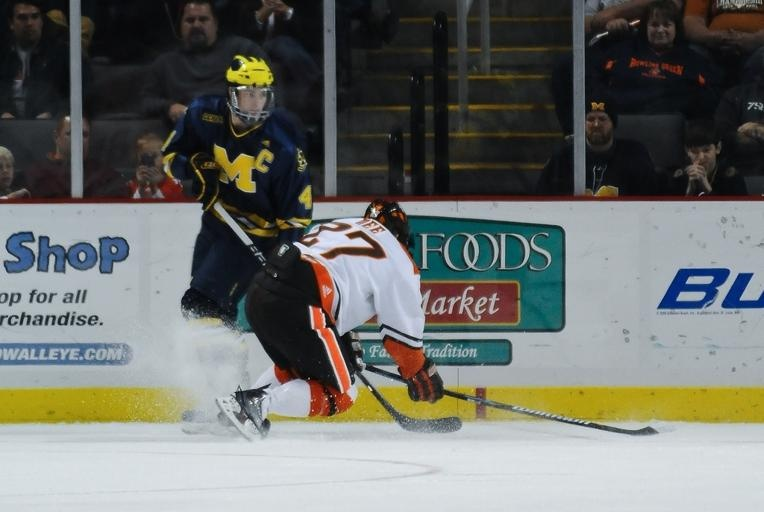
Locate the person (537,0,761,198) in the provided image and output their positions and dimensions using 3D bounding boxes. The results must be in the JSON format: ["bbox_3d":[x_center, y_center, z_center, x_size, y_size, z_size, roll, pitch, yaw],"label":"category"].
[{"bbox_3d":[1.911,-1.076,10.734,1.242,1.519,0.616,2,-2,9],"label":"person"}]

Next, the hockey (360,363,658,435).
[{"bbox_3d":[0.950,0.992,9.939,2.267,0.173,0.259,6,42,6],"label":"hockey"}]
